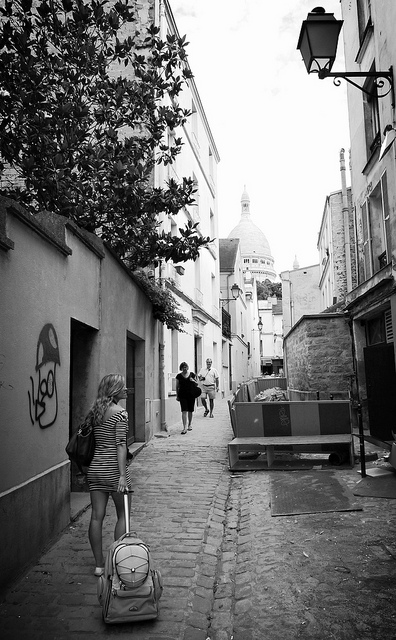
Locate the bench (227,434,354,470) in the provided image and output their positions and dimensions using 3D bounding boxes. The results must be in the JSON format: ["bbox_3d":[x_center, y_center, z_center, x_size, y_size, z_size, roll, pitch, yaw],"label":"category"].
[{"bbox_3d":[1.337,1.913,7.952,1.780,0.502,1.017,-4,-5,17],"label":"bench"}]

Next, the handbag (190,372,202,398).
[{"bbox_3d":[-0.059,1.570,12.801,0.248,0.497,0.164,-1,-3,-6],"label":"handbag"}]

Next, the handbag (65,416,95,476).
[{"bbox_3d":[-0.826,0.861,3.822,0.151,0.403,0.179,1,5,6],"label":"handbag"}]

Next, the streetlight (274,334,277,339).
[{"bbox_3d":[11.000,2.255,77.340,0.389,0.629,0.438,-1,-3,-9],"label":"streetlight"}]

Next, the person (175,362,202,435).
[{"bbox_3d":[-0.239,1.833,13.089,0.561,1.641,1.515,-1,-4,-3],"label":"person"}]

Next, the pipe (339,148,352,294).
[{"bbox_3d":[4.802,-2.983,17.672,0.329,6.810,0.528,0,4,10],"label":"pipe"}]

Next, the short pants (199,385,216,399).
[{"bbox_3d":[0.291,2.108,16.014,0.392,0.434,0.572,-2,-4,-1],"label":"short pants"}]

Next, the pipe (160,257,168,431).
[{"bbox_3d":[-0.850,0.709,13.240,0.234,3.662,0.502,0,2,1],"label":"pipe"}]

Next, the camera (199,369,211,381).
[{"bbox_3d":[0.181,1.568,15.613,0.085,0.316,0.387,1,-5,-42],"label":"camera"}]

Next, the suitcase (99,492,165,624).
[{"bbox_3d":[-0.394,1.288,3.084,0.300,0.820,0.279,13,-22,-36],"label":"suitcase"}]
